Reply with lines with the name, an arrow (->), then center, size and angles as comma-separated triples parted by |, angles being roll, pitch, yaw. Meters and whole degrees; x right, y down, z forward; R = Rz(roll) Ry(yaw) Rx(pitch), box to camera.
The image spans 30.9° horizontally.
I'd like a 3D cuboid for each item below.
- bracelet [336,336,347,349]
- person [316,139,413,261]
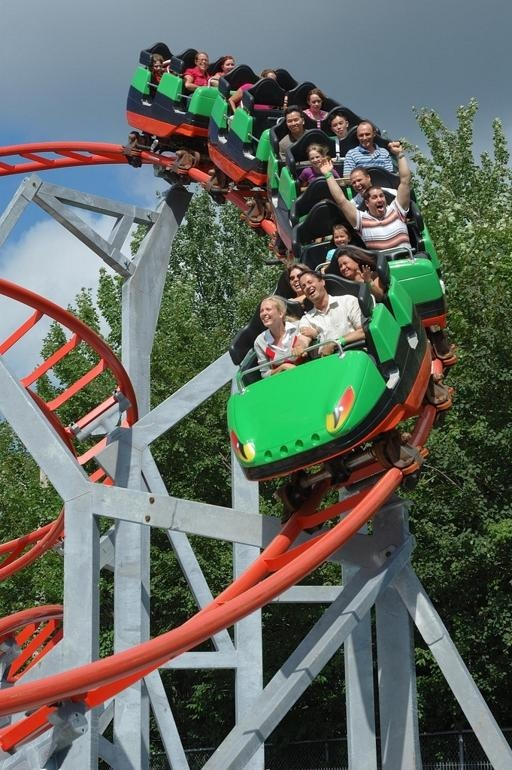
bracelet -> 0.429, -0.205, 4.657 | 0.052, 0.063, 0.027 | -10, -27, 34
person -> 0.756, -1.235, 6.154 | 0.539, 0.677, 0.619 | 1, 19, 7
